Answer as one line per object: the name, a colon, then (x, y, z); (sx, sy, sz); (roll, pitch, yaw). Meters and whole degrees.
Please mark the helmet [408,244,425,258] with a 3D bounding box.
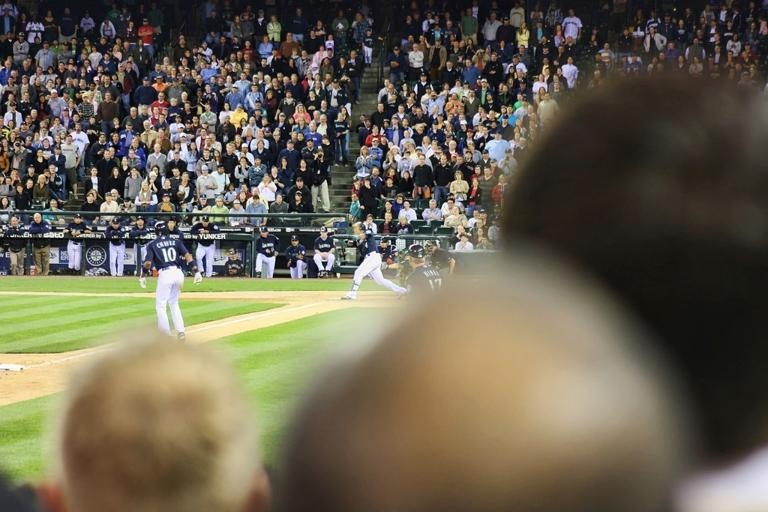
helmet: (0.510, -0.064, 17.390); (0.174, 0.193, 0.243); (1, 9, -8)
